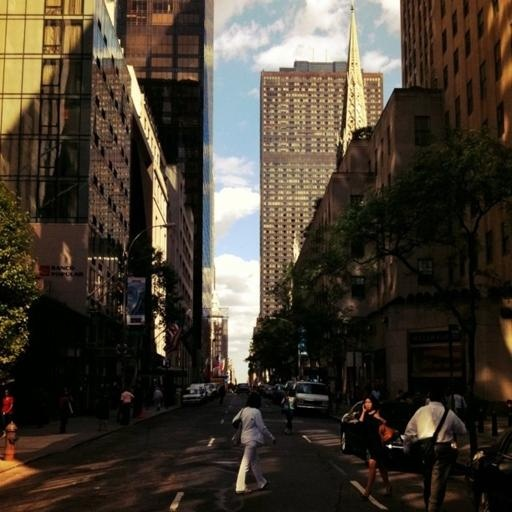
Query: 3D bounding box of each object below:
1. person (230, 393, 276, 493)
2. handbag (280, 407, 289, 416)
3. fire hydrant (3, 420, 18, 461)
[{"bbox_3d":[-0.148,4.327,20.128,0.974,2.277,0.868,2,-9,-24],"label":"person"},{"bbox_3d":[1.119,6.056,33.655,0.210,0.267,0.828,-1,-11,-6],"label":"handbag"},{"bbox_3d":[-7.314,5.457,25.462,0.348,1.116,0.989,1,-10,-17],"label":"fire hydrant"}]
